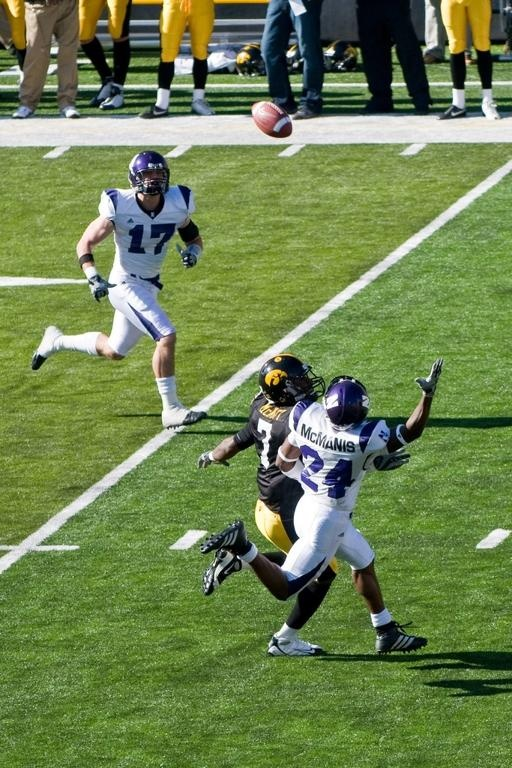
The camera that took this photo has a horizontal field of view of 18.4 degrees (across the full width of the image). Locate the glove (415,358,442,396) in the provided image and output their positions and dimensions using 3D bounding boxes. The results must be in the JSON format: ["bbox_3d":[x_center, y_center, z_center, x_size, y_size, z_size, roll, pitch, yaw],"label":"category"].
[{"bbox_3d":[0.713,-0.024,6.468,0.050,0.164,0.080,23,-17,12],"label":"glove"}]

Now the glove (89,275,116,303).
[{"bbox_3d":[-0.731,-0.458,7.460,0.115,0.149,0.272,0,15,-1],"label":"glove"}]

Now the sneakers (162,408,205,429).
[{"bbox_3d":[-0.357,0.155,7.510,0.216,0.108,0.086,-6,19,12],"label":"sneakers"}]

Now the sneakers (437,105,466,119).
[{"bbox_3d":[1.692,-2.311,13.474,0.277,0.119,0.103,-8,29,-14],"label":"sneakers"}]

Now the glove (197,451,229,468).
[{"bbox_3d":[-0.156,0.275,6.010,0.100,0.076,0.043,11,45,-4],"label":"glove"}]

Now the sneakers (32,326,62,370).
[{"bbox_3d":[-1.103,-0.182,8.326,0.103,0.236,0.080,34,23,-35],"label":"sneakers"}]

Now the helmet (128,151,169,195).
[{"bbox_3d":[-0.501,-0.990,7.407,0.175,0.208,0.204,-2,15,-6],"label":"helmet"}]

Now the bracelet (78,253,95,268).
[{"bbox_3d":[-0.808,-0.590,7.503,0.069,0.049,0.070,-3,10,19],"label":"bracelet"}]

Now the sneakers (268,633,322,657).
[{"bbox_3d":[0.121,0.867,5.271,0.205,0.091,0.068,0,16,-7],"label":"sneakers"}]

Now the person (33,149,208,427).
[{"bbox_3d":[-0.596,-0.497,7.667,0.718,1.298,0.927,-4,16,-15],"label":"person"}]

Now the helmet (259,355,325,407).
[{"bbox_3d":[0.124,-0.031,5.563,0.248,0.161,0.184,-6,18,0],"label":"helmet"}]

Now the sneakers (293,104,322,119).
[{"bbox_3d":[0.466,-2.412,14.061,0.104,0.115,0.294,6,11,35],"label":"sneakers"}]

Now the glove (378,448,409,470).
[{"bbox_3d":[0.448,0.239,5.126,0.096,0.087,0.138,2,15,5],"label":"glove"}]

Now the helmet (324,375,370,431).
[{"bbox_3d":[0.293,0.053,5.095,0.128,0.162,0.127,2,-14,3],"label":"helmet"}]

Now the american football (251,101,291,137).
[{"bbox_3d":[0.069,-2.030,12.063,0.217,0.196,0.317,17,23,-51],"label":"american football"}]

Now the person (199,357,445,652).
[{"bbox_3d":[0.222,0.413,5.148,0.758,0.989,0.469,-2,15,-9],"label":"person"}]

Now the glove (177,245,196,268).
[{"bbox_3d":[-0.345,-0.637,7.665,0.064,0.089,0.121,-35,32,2],"label":"glove"}]

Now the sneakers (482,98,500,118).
[{"bbox_3d":[2.012,-2.378,13.445,0.089,0.105,0.271,-14,40,0],"label":"sneakers"}]
